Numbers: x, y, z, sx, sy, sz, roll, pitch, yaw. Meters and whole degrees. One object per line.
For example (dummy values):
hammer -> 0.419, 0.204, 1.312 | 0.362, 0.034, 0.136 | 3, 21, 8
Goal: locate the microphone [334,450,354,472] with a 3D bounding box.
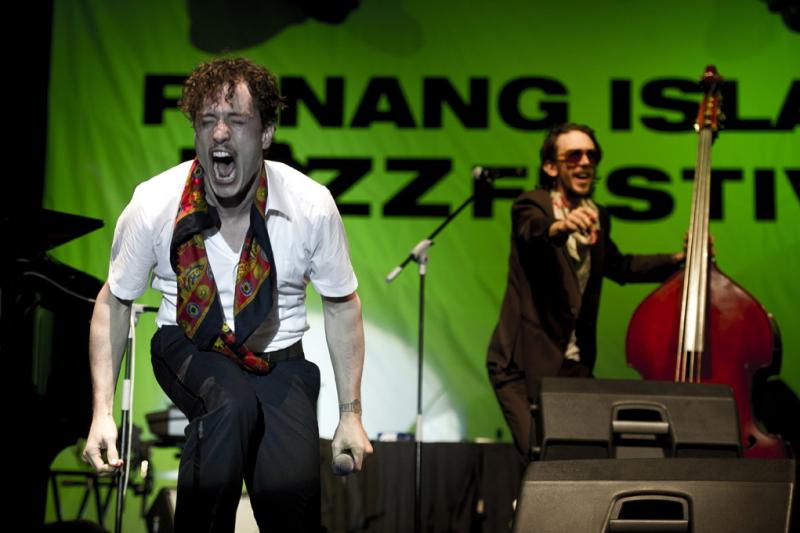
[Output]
microphone -> -0.268, 0.931, 4.920 | 0.100, 0.121, 0.172 | 4, -13, -1

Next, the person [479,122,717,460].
person -> 1.106, 0.137, 6.709 | 1.209, 2.270, 0.950 | 2, 6, 2

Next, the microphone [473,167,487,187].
microphone -> 0.542, -0.602, 6.930 | 0.093, 0.068, 0.134 | 1, -33, 3
